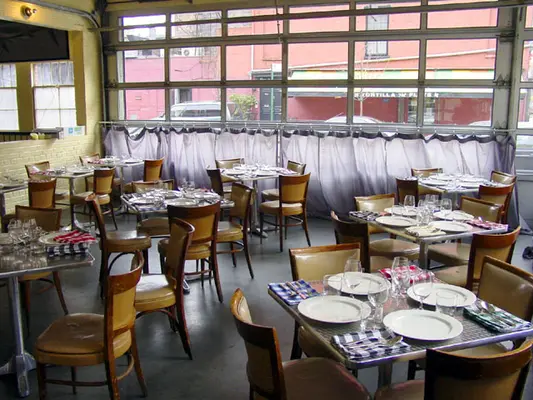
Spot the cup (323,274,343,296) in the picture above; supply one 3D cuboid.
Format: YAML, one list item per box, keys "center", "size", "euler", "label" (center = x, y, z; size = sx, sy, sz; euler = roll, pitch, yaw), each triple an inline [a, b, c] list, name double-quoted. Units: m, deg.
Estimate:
- center: [0.367, 0.487, 2.320]
  size: [0.129, 0.102, 0.115]
  euler: [1, 1, 9]
  label: "cup"

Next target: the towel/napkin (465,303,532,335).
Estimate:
- center: [1.156, 0.598, 2.070]
  size: [0.180, 0.036, 0.184]
  euler: [-5, 10, -25]
  label: "towel/napkin"

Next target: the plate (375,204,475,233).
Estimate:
- center: [1.487, 0.147, 3.822]
  size: [0.798, 0.186, 0.719]
  euler: [1, 8, 23]
  label: "plate"

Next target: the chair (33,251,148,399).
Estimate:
- center: [-1.053, 0.862, 2.517]
  size: [0.655, 0.986, 0.495]
  euler: [-4, 10, -4]
  label: "chair"

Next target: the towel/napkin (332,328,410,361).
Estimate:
- center: [0.461, 0.654, 1.839]
  size: [0.216, 0.018, 0.121]
  euler: [-4, 12, -21]
  label: "towel/napkin"

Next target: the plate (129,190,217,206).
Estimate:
- center: [-1.038, -0.050, 4.497]
  size: [1.014, 0.150, 0.771]
  euler: [-4, 7, -15]
  label: "plate"

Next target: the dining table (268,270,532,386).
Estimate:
- center: [0.544, 0.790, 2.166]
  size: [0.824, 0.364, 0.715]
  euler: [-6, 14, -21]
  label: "dining table"

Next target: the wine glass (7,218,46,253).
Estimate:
- center: [-1.707, 0.246, 2.900]
  size: [0.253, 0.169, 0.304]
  euler: [-2, 10, -28]
  label: "wine glass"
